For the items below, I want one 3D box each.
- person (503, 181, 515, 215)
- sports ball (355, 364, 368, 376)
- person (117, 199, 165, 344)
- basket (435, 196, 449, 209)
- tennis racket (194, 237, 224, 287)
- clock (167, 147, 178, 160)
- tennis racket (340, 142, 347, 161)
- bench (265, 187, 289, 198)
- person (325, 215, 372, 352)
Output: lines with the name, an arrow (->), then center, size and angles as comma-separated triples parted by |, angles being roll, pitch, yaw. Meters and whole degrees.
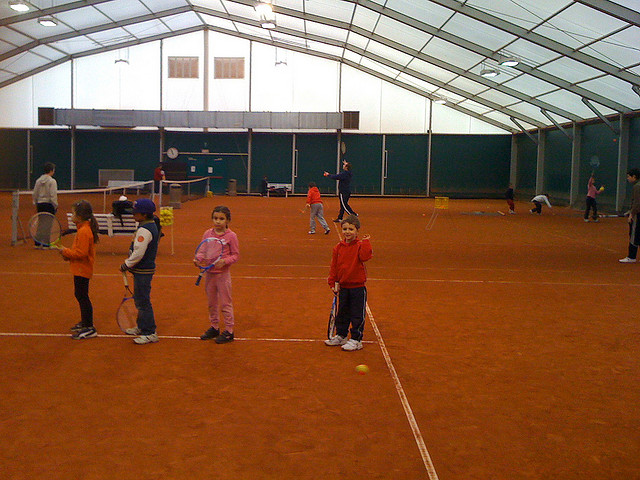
person -> 8.852, -1.935, 25.147 | 0.362, 1.373, 1.511 | 2, 6, 19
sports ball -> 0.449, 1.396, 5.785 | 0.099, 0.080, 0.078 | 2, -27, 2
person -> -2.128, 0.388, 6.410 | 0.443, 1.724, 0.588 | -1, 6, -17
basket -> 6.468, -1.987, 28.772 | 0.993, 0.708, 0.204 | 0, 11, -11
tennis racket -> -1.338, 0.252, 6.388 | 0.332, 0.546, 0.092 | 23, 4, 40
clock -> -9.741, -5.706, 35.540 | 0.689, 0.786, 0.326 | 0, 5, -1
tennis racket -> 1.531, -5.875, 35.224 | 0.261, 1.014, 0.278 | -1, 6, 1
bench -> -2.878, -3.192, 35.559 | 1.760, 0.539, 0.575 | -4, 7, -36
person -> 0.338, 0.523, 6.458 | 0.491, 1.591, 0.408 | 0, 5, -1
